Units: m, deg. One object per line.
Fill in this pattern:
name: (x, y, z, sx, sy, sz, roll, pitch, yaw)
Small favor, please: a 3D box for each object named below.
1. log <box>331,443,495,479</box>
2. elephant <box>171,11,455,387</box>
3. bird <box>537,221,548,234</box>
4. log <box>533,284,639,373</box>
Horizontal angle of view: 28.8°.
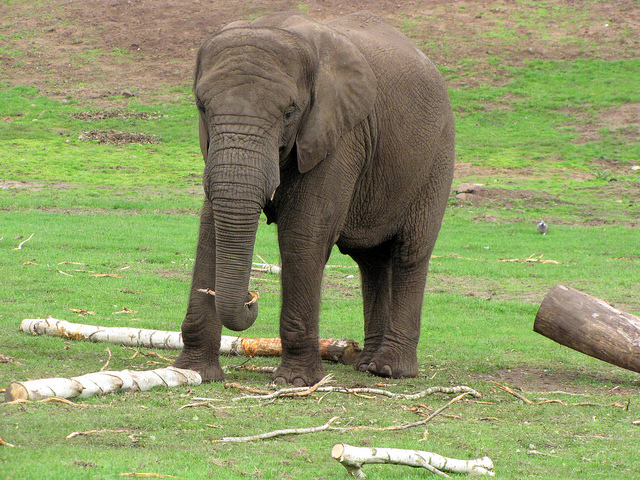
log: (1.423, 3.474, 19.348, 2.543, 0.476, 0.296, 3, 12, -9)
elephant: (0.218, -0.582, 22.855, 4.816, 6.651, 4.703, 1, 4, 6)
bird: (6.188, -0.290, 34.786, 0.230, 0.306, 0.288, 4, 11, -12)
log: (4.897, 1.611, 22.656, 2.473, 0.990, 0.800, 19, 4, 13)
